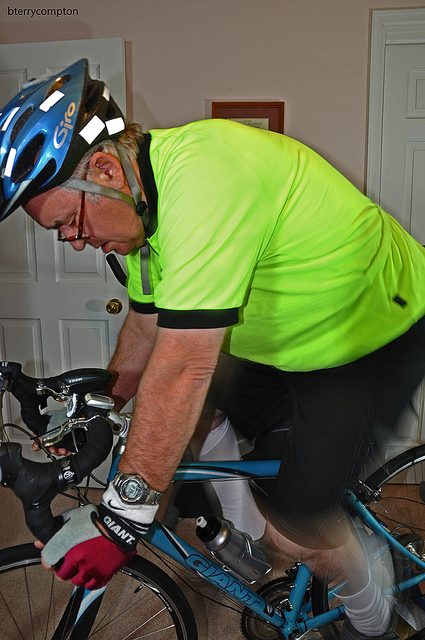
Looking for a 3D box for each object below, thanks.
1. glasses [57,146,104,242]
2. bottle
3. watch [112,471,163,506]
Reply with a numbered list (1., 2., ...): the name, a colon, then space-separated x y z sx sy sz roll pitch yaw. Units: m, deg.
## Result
1. glasses: -0.246 -0.231 0.943 0.044 0.147 0.145 -10 28 8
2. bottle: 0.046 0.520 1.168 0.078 0.218 0.095 -4 44 54
3. watch: -0.123 0.277 0.833 0.065 0.056 0.023 8 23 -1
